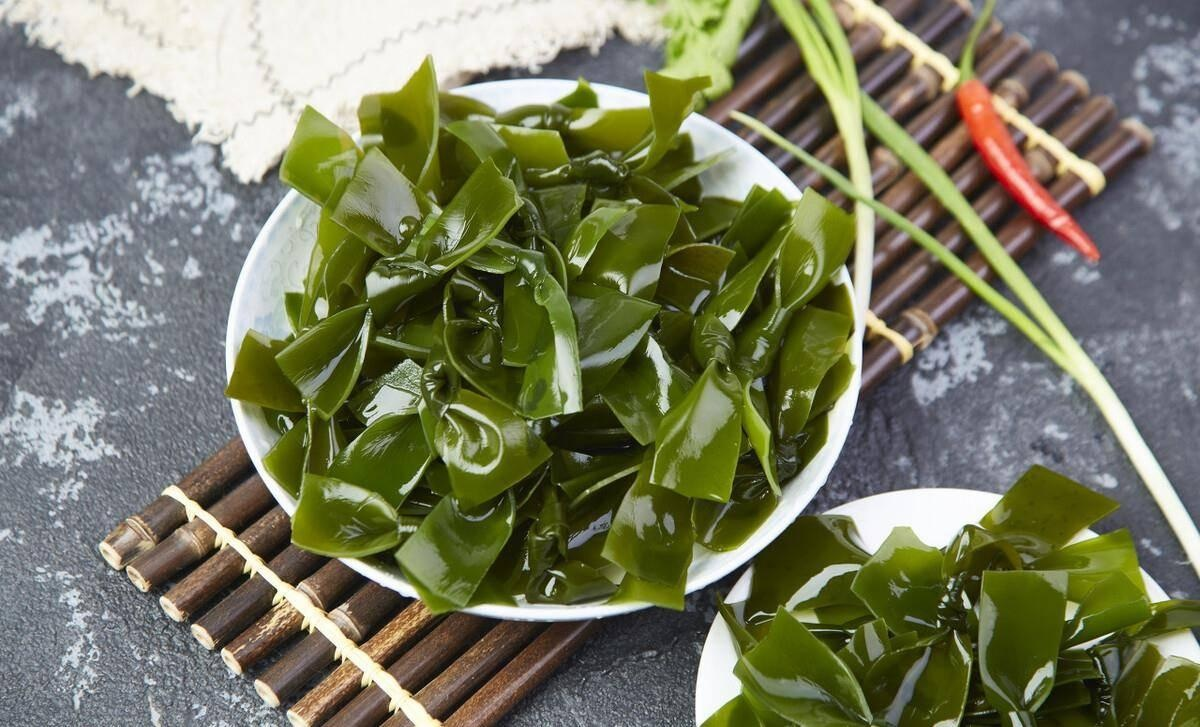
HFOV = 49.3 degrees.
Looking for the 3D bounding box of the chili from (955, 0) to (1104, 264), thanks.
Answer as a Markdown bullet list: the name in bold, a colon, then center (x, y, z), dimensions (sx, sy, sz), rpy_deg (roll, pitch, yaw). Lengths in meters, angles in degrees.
- **chili**: center (0.745, -0.368, 2.361), dimensions (0.176, 0.077, 0.596), rpy_deg (3, 61, -38)
